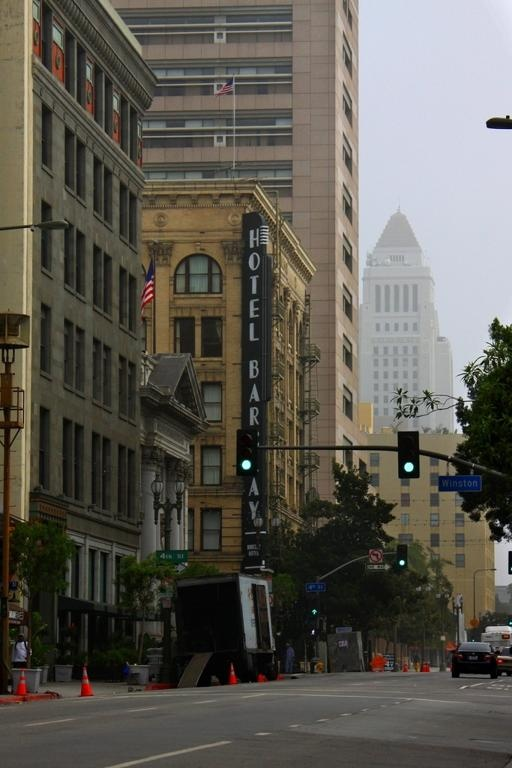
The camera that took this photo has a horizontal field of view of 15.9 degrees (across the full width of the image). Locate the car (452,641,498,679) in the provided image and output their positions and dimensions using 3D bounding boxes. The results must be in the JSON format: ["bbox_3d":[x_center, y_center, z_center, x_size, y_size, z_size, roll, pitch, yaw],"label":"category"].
[{"bbox_3d":[7.510,9.440,63.116,1.459,1.515,2.500,-3,-15,5],"label":"car"}]

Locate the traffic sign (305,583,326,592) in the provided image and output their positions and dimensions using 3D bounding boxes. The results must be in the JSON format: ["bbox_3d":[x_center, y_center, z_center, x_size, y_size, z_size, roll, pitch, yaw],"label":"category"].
[{"bbox_3d":[2.645,8.908,81.865,0.785,0.546,1.421,-1,-16,-3],"label":"traffic sign"}]
